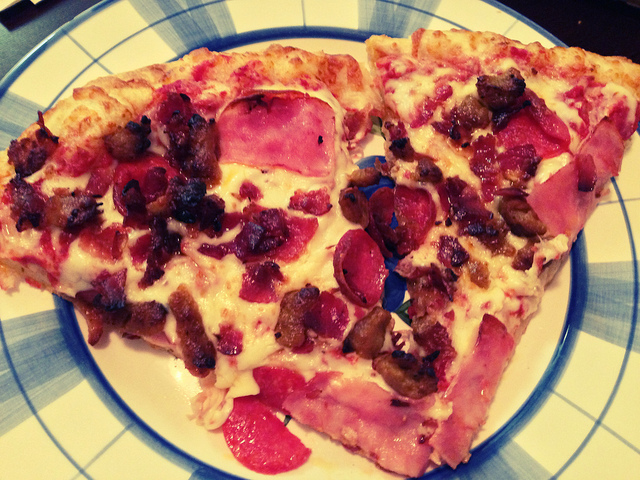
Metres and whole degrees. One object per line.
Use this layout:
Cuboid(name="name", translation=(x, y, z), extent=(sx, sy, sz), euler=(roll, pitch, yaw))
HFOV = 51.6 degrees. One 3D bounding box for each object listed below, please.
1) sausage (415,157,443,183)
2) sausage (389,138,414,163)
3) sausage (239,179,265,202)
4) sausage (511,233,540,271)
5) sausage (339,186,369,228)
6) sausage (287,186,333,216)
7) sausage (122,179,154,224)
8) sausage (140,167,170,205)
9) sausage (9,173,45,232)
Cuboid(name="sausage", translation=(0.725, -0.456, 4.395), extent=(0.131, 0.184, 0.068), euler=(-18, 122, -6))
Cuboid(name="sausage", translation=(0.564, -0.601, 4.520), extent=(0.141, 0.157, 0.170), euler=(-9, 84, 1))
Cuboid(name="sausage", translation=(-0.441, -0.303, 4.243), extent=(0.166, 0.028, 0.117), euler=(42, 86, 5))
Cuboid(name="sausage", translation=(1.370, 0.106, 4.426), extent=(0.160, 0.327, 0.131), euler=(-28, 102, 26))
Cuboid(name="sausage", translation=(0.242, -0.220, 4.352), extent=(0.187, 0.089, 0.259), euler=(-6, 81, -41))
Cuboid(name="sausage", translation=(-0.067, -0.251, 4.306), extent=(0.270, 0.056, 0.187), euler=(-2, 84, 1))
Cuboid(name="sausage", translation=(-1.127, -0.239, 4.070), extent=(0.161, 0.087, 0.261), euler=(-2, 99, 3))
Cuboid(name="sausage", translation=(-1.020, -0.344, 4.106), extent=(0.168, 0.062, 0.235), euler=(9, 81, -8))
Cuboid(name="sausage", translation=(-1.805, -0.229, 4.079), extent=(0.192, 0.069, 0.303), euler=(-10, 93, -5))
